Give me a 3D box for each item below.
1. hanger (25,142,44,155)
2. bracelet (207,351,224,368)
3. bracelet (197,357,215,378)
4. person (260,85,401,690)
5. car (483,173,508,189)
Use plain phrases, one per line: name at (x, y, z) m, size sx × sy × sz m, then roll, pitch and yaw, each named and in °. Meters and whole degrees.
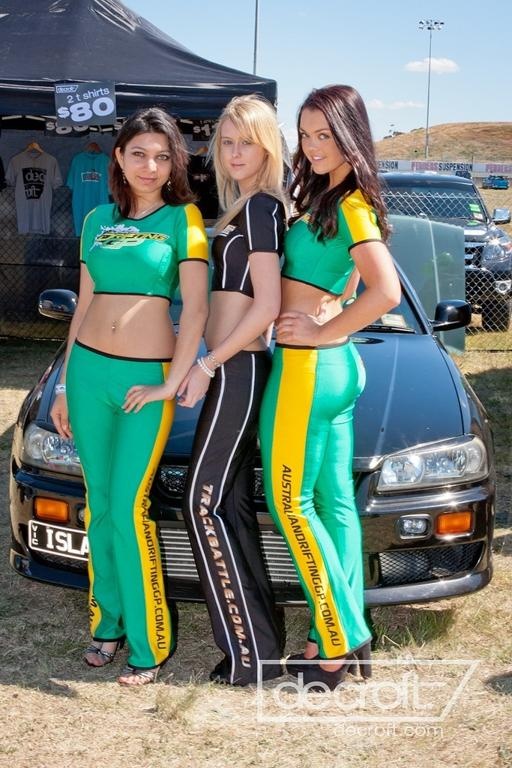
hanger at (-2.720, -2.933, 8.269) m, size 0.213 × 0.154 × 0.130 m, roll 1°, pitch 5°, yaw 2°
bracelet at (-0.112, -0.061, 1.744) m, size 0.038 × 0.045 × 0.019 m, roll 6°, pitch 24°, yaw 1°
bracelet at (-0.131, -0.044, 1.753) m, size 0.019 × 0.051 × 0.049 m, roll -36°, pitch 39°, yaw -5°
person at (0.203, 0.055, 1.824) m, size 0.367 × 1.659 × 0.343 m, roll 2°, pitch 5°, yaw 14°
car at (15.418, -12.985, 42.852) m, size 1.325 × 0.907 × 2.638 m, roll -1°, pitch 8°, yaw 0°
